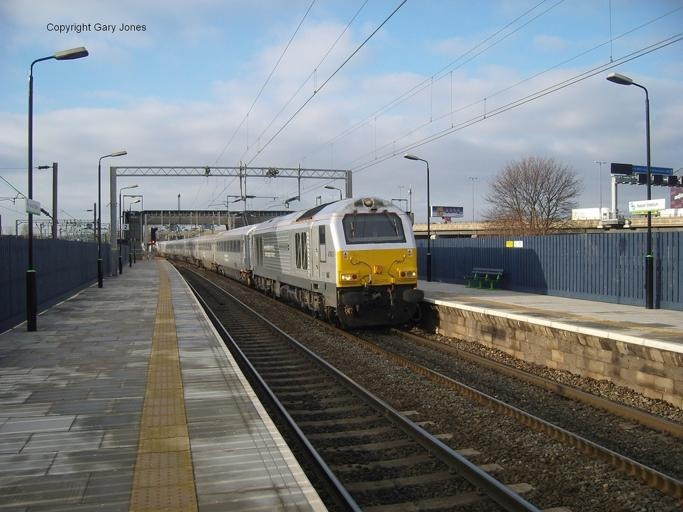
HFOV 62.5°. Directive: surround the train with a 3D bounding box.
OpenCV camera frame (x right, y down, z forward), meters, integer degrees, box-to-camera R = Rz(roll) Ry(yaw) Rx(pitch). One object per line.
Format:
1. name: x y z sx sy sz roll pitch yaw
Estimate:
1. train: -4.159 -0.565 30.885 3.254 3.567 34.276 -2 3 -21
